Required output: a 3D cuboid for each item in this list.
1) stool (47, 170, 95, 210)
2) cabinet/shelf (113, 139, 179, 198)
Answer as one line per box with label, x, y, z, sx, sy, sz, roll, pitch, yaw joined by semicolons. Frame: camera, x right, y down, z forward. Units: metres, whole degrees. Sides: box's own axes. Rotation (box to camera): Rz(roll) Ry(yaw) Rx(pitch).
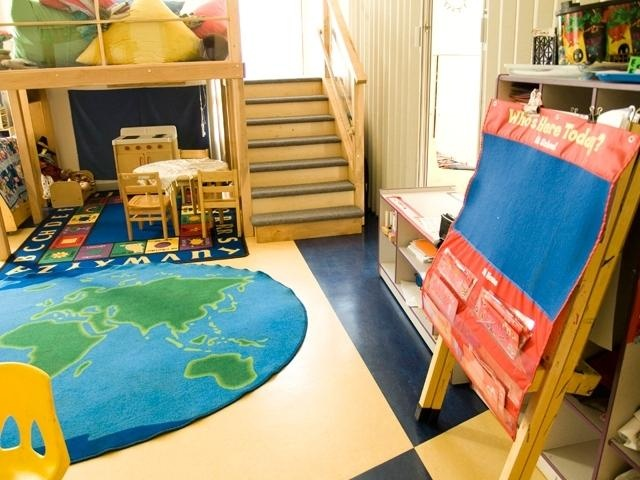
stool;-3.726;-0.740;6.531;0.337;0.288;0.632;-3;23;-9
cabinet/shelf;-2.305;-0.979;5.815;0.933;0.854;0.514;-5;19;-12
